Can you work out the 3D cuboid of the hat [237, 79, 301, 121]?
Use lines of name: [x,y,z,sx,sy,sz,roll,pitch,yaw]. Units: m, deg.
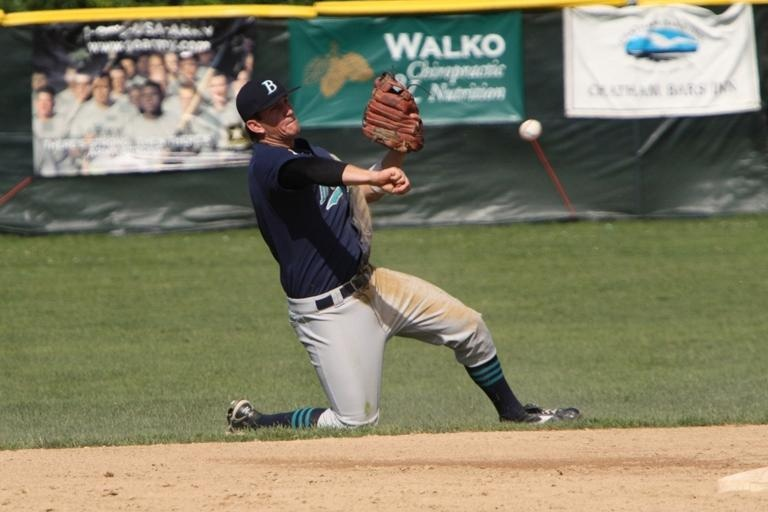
hat: [-1.301,-1.773,18.995,0.746,0.378,0.477,-18,7,30]
